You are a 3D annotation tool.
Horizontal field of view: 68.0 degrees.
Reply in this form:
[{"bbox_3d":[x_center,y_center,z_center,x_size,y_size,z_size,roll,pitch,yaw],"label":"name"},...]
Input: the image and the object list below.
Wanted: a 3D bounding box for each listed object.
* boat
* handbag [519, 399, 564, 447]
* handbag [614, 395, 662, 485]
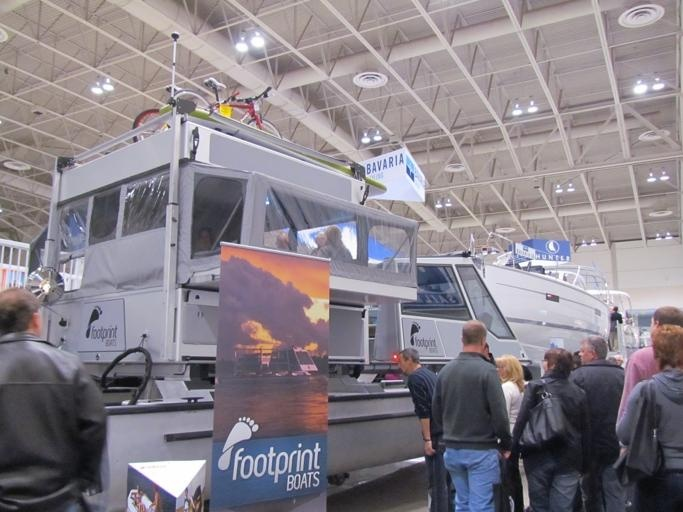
[{"bbox_3d":[0.161,0.595,7.095,3.980,2.732,7.151,-6,-12,35],"label":"boat"},{"bbox_3d":[1.590,1.318,3.986,0.132,0.275,0.267,30,-48,-27],"label":"handbag"},{"bbox_3d":[1.873,1.127,3.174,0.253,0.584,0.099,-8,-13,31],"label":"handbag"}]
